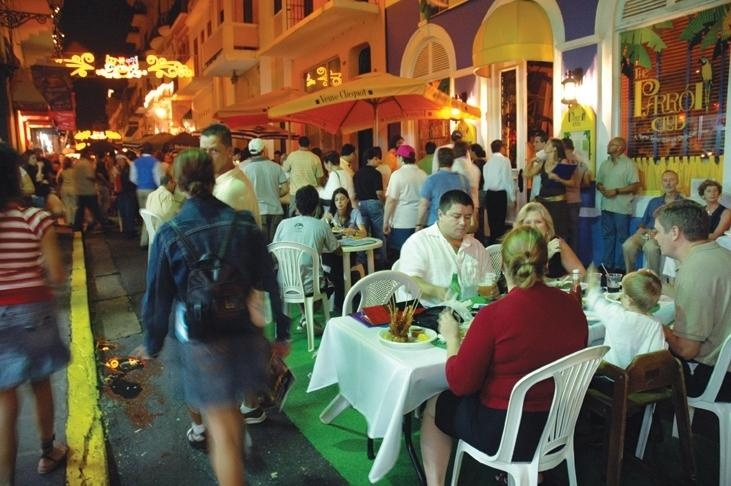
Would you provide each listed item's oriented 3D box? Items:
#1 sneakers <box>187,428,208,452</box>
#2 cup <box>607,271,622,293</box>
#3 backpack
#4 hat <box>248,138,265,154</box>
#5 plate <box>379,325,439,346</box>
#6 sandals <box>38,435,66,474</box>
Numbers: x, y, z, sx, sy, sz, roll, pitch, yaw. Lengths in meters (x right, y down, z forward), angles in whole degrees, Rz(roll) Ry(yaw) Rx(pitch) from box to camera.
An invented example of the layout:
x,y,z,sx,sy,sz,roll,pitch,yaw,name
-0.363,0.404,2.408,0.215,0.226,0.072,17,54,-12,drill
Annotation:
x,y,z,sx,sy,sz,roll,pitch,yaw,name
-1.633,1.898,5.714,0.245,0.196,0.068,4,7,28,sneakers
2.532,0.394,5.954,0.177,0.198,0.175,0,6,0,cup
-1.210,0.260,4.545,0.526,0.952,0.281,-2,7,-22,backpack
-1.922,-1.757,10.446,0.246,0.143,0.393,-1,40,9,hat
0.373,0.807,5.085,0.490,0.105,0.312,0,6,0,plate
-2.923,1.930,5.494,0.193,0.361,0.248,2,6,14,sandals
